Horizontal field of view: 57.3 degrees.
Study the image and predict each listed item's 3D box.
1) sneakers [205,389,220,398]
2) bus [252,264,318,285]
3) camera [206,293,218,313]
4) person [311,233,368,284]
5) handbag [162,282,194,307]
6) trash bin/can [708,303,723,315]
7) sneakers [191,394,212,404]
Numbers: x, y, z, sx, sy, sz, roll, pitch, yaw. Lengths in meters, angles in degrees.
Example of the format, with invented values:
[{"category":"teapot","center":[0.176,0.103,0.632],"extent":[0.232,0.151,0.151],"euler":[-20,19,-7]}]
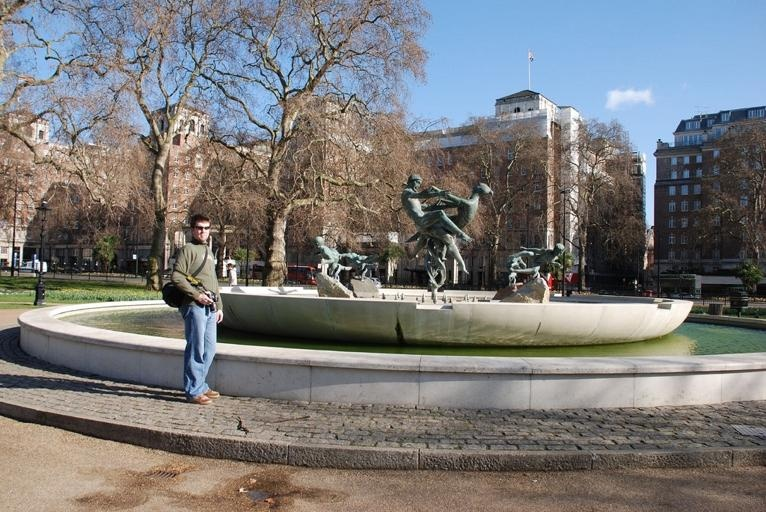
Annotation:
[{"category":"sneakers","center":[-3.000,2.414,12.339],"extent":[0.250,0.107,0.100],"euler":[0,0,-11]},{"category":"bus","center":[-6.892,1.359,50.555],"extent":[5.664,1.693,1.722],"euler":[-2,-2,28]},{"category":"camera","center":[-2.943,0.783,12.118],"extent":[0.094,0.266,0.271],"euler":[1,5,11]},{"category":"person","center":[-1.333,0.151,23.771],"extent":[2.202,1.509,1.011],"euler":[5,-10,-21]},{"category":"handbag","center":[-3.564,0.672,11.971],"extent":[0.464,0.379,0.362],"euler":[20,-12,47]},{"category":"trash bin/can","center":[11.822,1.878,25.043],"extent":[0.504,0.583,0.507],"euler":[1,-4,-5]},{"category":"sneakers","center":[-3.130,2.466,12.100],"extent":[0.332,0.134,0.140],"euler":[0,4,-2]}]
